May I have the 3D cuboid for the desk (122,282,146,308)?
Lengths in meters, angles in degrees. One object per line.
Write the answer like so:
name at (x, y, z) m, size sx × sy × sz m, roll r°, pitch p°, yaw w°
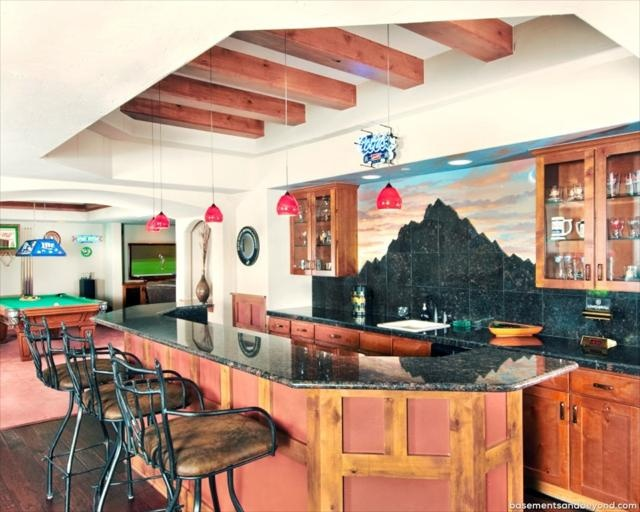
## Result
desk at (-4.843, 0.993, 13.145) m, size 0.588 × 0.485 × 0.360 m, roll -1°, pitch 0°, yaw -23°

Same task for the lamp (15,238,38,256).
lamp at (-5.895, -0.165, 10.120) m, size 0.437 × 0.388 × 0.118 m, roll -4°, pitch -18°, yaw 37°
